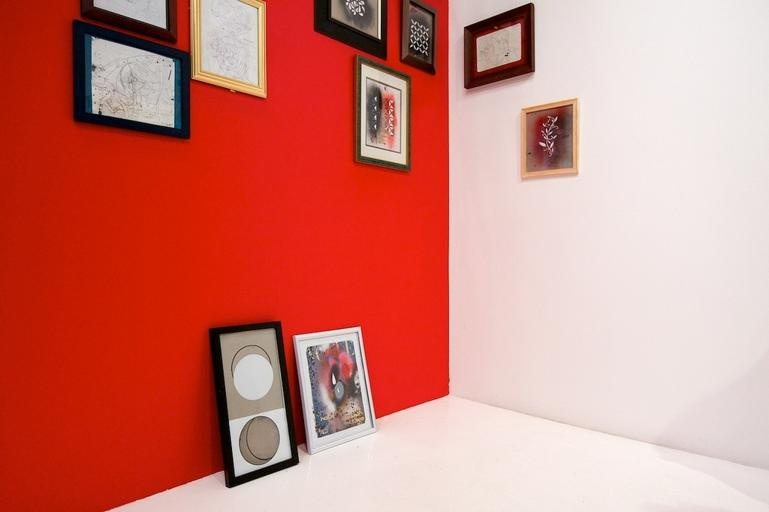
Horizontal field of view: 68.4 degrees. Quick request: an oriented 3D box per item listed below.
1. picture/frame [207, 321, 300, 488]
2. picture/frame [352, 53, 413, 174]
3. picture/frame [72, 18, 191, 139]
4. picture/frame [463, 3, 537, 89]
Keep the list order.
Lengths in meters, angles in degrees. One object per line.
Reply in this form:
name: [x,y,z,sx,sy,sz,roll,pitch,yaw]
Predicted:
picture/frame: [-0.677,0.746,2.964,0.384,0.737,0.330,-6,16,-25]
picture/frame: [-0.029,-0.898,3.546,0.039,0.924,0.705,-3,-6,40]
picture/frame: [-1.240,-0.852,2.721,0.581,0.555,0.041,1,1,-39]
picture/frame: [0.781,-1.388,3.739,0.585,0.560,0.067,-2,-2,41]
